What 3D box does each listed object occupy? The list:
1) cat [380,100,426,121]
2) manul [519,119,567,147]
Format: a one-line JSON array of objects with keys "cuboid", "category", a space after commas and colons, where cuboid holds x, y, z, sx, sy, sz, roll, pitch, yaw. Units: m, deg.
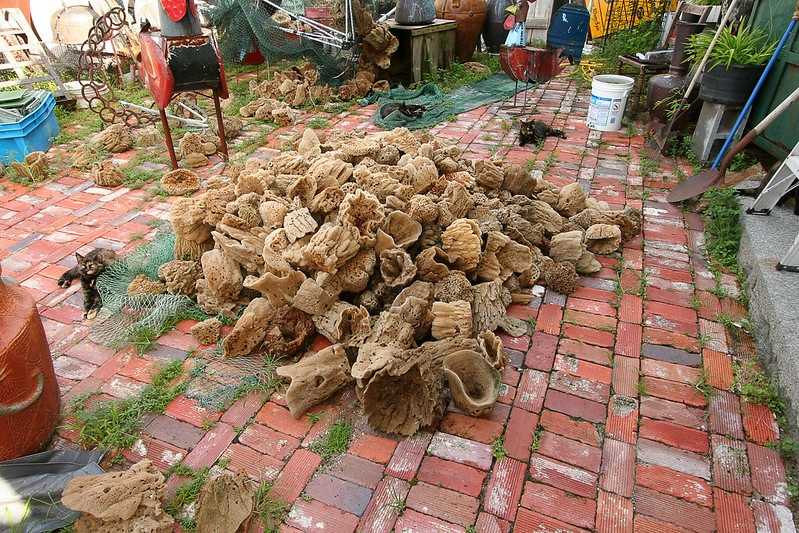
[{"cuboid": [-0.061, -2.566, 7.619, 0.918, 0.418, 0.279, -3, 19, -8], "category": "cat"}, {"cuboid": [2.033, -1.938, 6.761, 0.606, 0.284, 0.460, -31, 37, -28], "category": "manul"}]
